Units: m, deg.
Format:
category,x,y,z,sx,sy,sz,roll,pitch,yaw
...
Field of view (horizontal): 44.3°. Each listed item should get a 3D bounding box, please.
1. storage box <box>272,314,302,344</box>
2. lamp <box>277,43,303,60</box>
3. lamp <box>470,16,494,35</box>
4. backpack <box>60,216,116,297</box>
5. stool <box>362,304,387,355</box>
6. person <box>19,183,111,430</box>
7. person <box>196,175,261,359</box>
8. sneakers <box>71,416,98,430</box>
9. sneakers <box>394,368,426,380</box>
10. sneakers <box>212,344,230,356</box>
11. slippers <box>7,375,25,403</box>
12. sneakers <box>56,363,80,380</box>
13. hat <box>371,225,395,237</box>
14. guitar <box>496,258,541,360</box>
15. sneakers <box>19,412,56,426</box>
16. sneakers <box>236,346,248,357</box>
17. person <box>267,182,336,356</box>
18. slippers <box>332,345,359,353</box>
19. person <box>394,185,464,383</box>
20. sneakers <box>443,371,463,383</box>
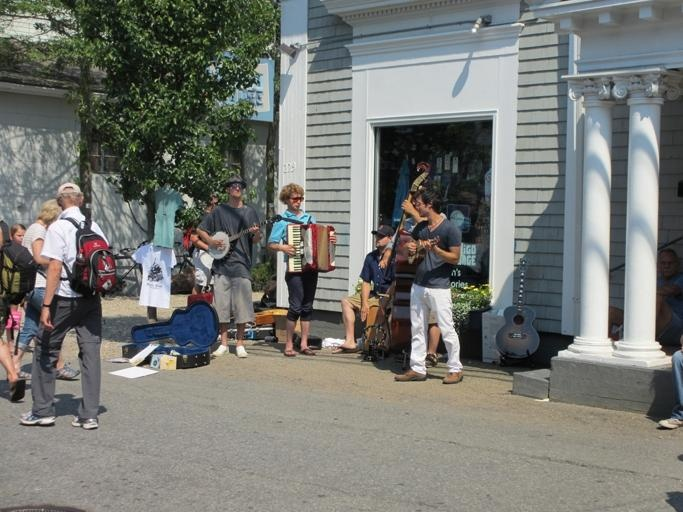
category,x,y,z,sx,sy,sz,roll,pitch,yaw
storage box,-0.952,1.204,13.948,0.432,0.472,0.434,6,6,40
lamp,-0.960,-3.691,15.056,0.267,0.279,0.489,-5,10,-37
lamp,2.147,-3.535,12.777,0.190,0.324,0.158,25,21,28
backpack,-2.770,0.020,9.228,0.543,0.849,0.390,0,7,-3
stool,0.493,1.130,12.538,0.232,0.911,0.763,0,8,-8
person,-3.089,0.523,9.432,0.865,2.680,0.837,2,2,-30
person,-1.615,0.160,12.546,1.081,2.694,0.688,0,-1,5
sneakers,-2.791,1.787,9.112,0.119,0.147,0.295,1,8,-42
sneakers,0.920,1.577,11.208,0.400,0.189,0.170,3,1,5
sneakers,-1.839,1.448,12.794,0.104,0.125,0.271,2,-4,21
slippers,-3.829,1.578,9.904,0.149,0.410,0.160,-5,28,-44
sneakers,-3.665,1.558,11.242,0.304,0.156,0.148,3,5,19
hat,0.673,-0.365,12.796,0.261,0.162,0.195,1,-1,-8
guitar,2.629,0.823,12.215,0.571,1.481,0.692,5,8,28
sneakers,-3.311,1.780,9.145,0.335,0.179,0.153,8,0,-3
sneakers,-1.519,1.456,12.676,0.131,0.140,0.327,0,-5,-13
person,-0.719,0.243,12.714,0.764,2.603,0.618,2,7,10
slippers,0.064,1.475,13.165,0.391,0.159,0.147,3,-4,-7
person,1.158,0.427,10.936,0.792,2.557,0.500,4,8,27
sneakers,1.471,1.603,11.042,0.108,0.135,0.300,-1,-5,39
